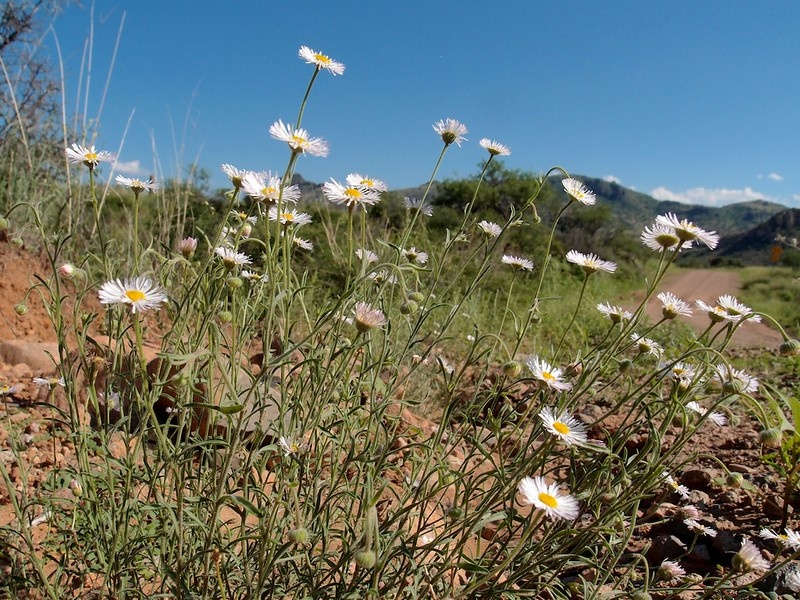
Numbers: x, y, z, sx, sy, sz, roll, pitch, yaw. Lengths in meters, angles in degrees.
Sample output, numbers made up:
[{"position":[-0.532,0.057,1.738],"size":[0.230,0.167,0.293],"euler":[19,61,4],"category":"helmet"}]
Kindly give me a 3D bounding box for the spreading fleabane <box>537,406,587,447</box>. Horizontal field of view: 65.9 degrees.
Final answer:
[{"position":[0.544,0.444,2.109],"size":[0.135,0.053,0.158],"euler":[4,42,-41],"category":"spreading fleabane"}]

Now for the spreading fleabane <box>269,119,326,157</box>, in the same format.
[{"position":[-0.375,-0.573,2.214],"size":[0.173,0.079,0.202],"euler":[3,14,-8],"category":"spreading fleabane"}]

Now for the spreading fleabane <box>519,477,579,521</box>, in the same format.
[{"position":[0.480,0.647,1.995],"size":[0.194,0.078,0.196],"euler":[7,5,-40],"category":"spreading fleabane"}]
